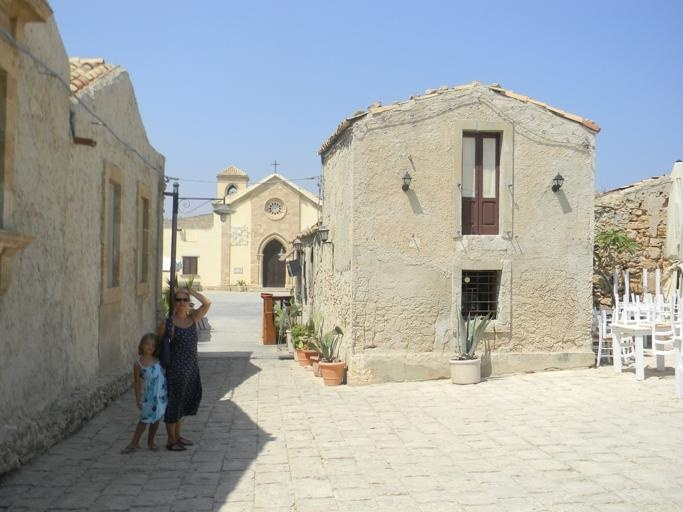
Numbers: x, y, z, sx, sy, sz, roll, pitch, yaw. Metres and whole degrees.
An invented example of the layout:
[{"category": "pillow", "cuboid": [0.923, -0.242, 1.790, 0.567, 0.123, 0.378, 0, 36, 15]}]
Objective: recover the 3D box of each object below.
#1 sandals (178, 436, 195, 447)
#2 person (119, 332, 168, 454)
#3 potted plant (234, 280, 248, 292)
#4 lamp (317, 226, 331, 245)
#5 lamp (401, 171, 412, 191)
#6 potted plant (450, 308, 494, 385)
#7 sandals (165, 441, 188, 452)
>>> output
[{"category": "sandals", "cuboid": [-1.936, 2.309, 8.463, 0.155, 0.047, 0.082, 3, 6, 0]}, {"category": "person", "cuboid": [-2.385, 1.646, 8.184, 0.492, 1.420, 0.482, -2, 3, -28]}, {"category": "potted plant", "cuboid": [-6.227, 1.872, 42.266, 0.662, 0.673, 0.668, -1, 1, -7]}, {"category": "lamp", "cuboid": [-0.362, -0.421, 14.091, 0.354, 0.507, 0.371, 1, -2, -3]}, {"category": "lamp", "cuboid": [1.168, -1.313, 12.002, 0.187, 0.353, 0.172, -1, 2, -6]}, {"category": "potted plant", "cuboid": [2.254, 1.586, 12.012, 0.572, 1.222, 0.846, 1, 3, 30]}, {"category": "sandals", "cuboid": [-2.006, 2.325, 8.297, 0.201, 0.084, 0.105, 1, 4, -3]}]
